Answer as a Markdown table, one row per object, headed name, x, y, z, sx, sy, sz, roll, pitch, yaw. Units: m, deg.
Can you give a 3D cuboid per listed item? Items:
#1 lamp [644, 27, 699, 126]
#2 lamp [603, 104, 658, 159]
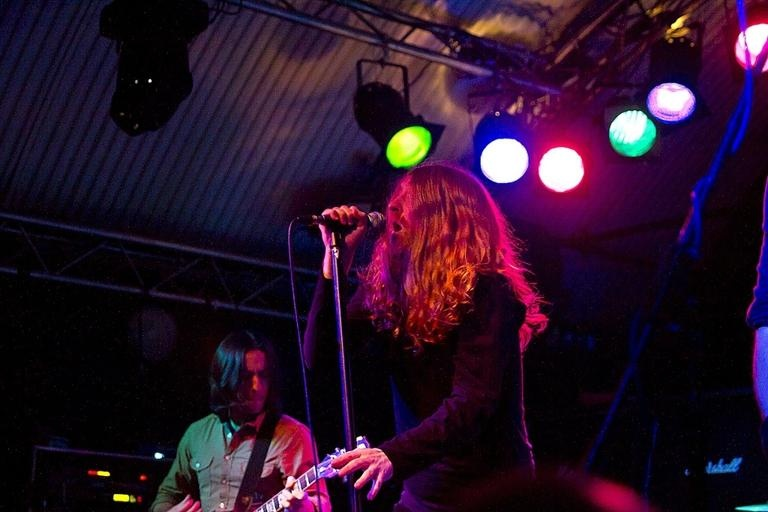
| name | x | y | z | sx | sy | sz | roll | pitch | yaw |
| --- | --- | --- | --- | --- | --- | --- | --- | --- | --- |
| lamp | 2.707 | -1.662 | 7.921 | 0.521 | 0.751 | 0.556 | 15 | -25 | 2 |
| lamp | 2.384 | -1.229 | 8.196 | 0.501 | 0.572 | 0.153 | 26 | -19 | 32 |
